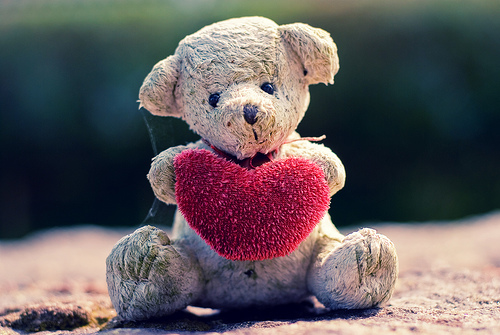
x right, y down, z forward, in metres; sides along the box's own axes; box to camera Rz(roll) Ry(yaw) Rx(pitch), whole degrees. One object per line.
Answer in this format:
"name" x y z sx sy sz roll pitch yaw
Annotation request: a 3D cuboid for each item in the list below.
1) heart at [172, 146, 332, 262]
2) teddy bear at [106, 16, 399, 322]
"heart" 0.007 0.184 3.547 0.753 0.488 0.183 3 13 -4
"teddy bear" 0.039 -0.019 3.772 1.301 1.402 0.823 -2 6 1
